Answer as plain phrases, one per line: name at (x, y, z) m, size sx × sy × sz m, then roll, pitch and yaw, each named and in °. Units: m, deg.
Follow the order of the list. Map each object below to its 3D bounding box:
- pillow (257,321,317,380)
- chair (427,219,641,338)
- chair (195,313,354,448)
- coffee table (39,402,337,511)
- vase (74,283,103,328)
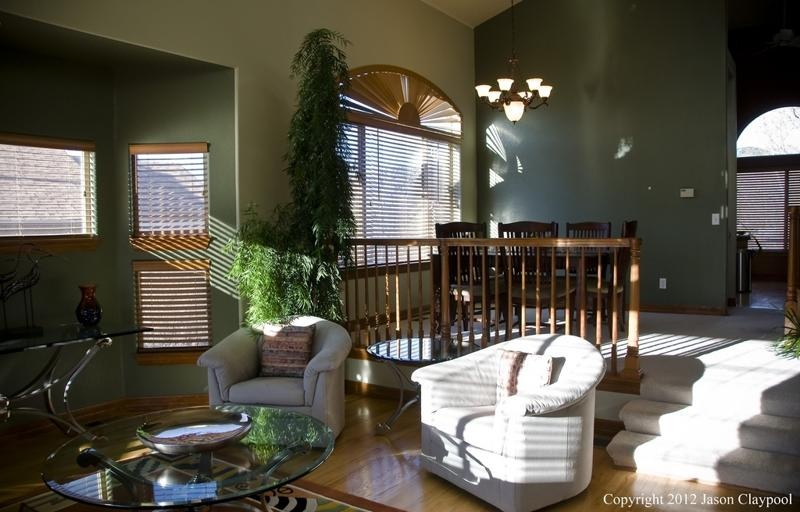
pillow at (-1.103, 0.946, 5.563) m, size 0.476 × 0.476 × 0.173 m, roll 0°, pitch -9°, yaw 7°
chair at (1.621, 0.295, 6.871) m, size 2.291 × 1.423 × 2.731 m, roll 0°, pitch 4°, yaw 24°
chair at (-1.136, 1.165, 5.586) m, size 1.427 × 1.136 × 1.085 m, roll -1°, pitch -6°, yaw 11°
coffee table at (-1.562, 1.491, 4.238) m, size 2.080 × 0.372 × 1.027 m, roll -2°, pitch 3°, yaw -4°
vase at (-3.185, 0.506, 5.735) m, size 0.278 × 0.406 × 0.251 m, roll 2°, pitch 5°, yaw -33°
